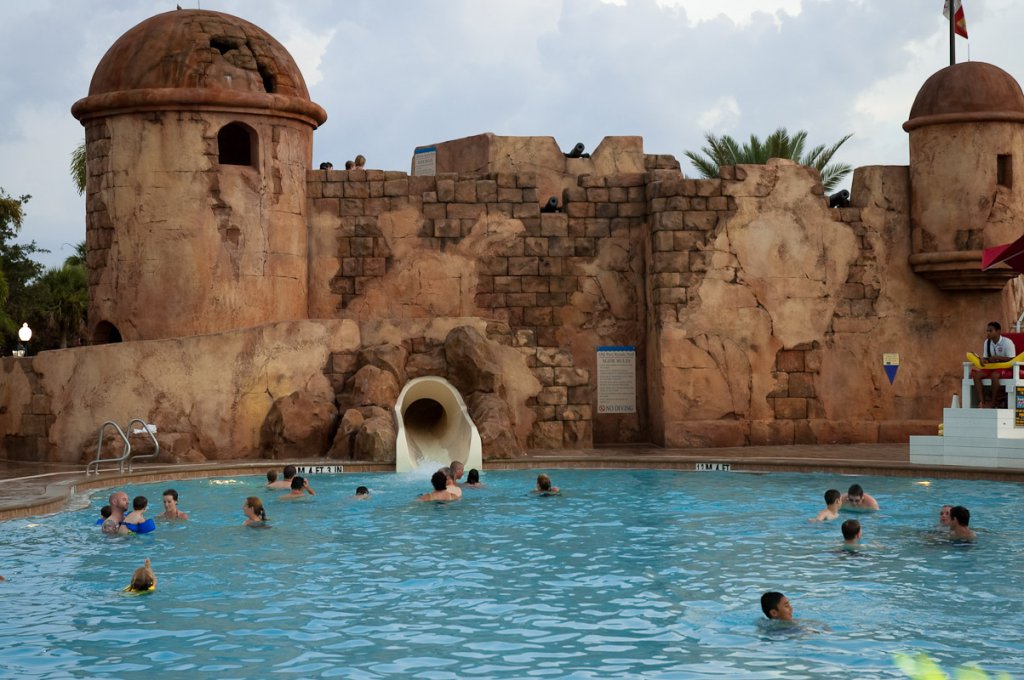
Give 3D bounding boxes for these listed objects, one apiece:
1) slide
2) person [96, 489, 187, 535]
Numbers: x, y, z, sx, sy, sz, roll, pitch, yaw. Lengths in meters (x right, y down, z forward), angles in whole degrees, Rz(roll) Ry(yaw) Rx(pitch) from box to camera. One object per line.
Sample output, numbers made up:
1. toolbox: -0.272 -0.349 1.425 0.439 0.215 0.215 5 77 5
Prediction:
1. slide: -1.372 1.413 18.614 1.317 1.166 2.353 4 12 -14
2. person: -4.686 2.122 13.880 0.808 0.372 0.559 -8 1 -10
